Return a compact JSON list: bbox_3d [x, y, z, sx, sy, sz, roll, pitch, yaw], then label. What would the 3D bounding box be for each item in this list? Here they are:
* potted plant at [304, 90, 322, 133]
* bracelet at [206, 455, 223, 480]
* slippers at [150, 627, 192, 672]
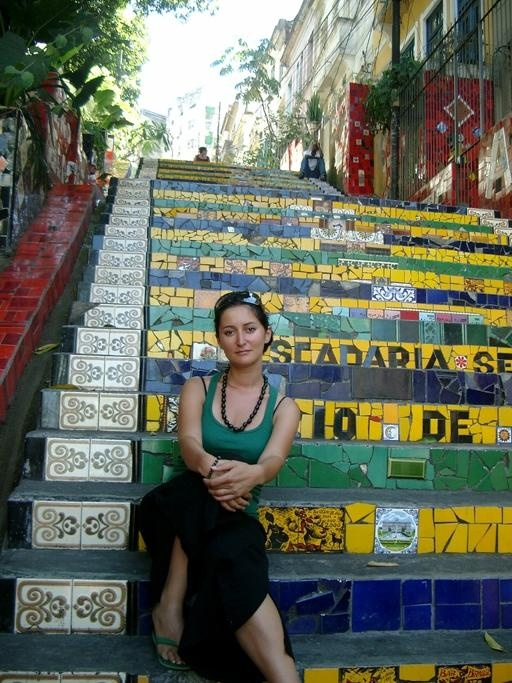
[{"bbox_3d":[1.310,-5.038,14.608,0.330,0.973,0.417,3,2,7],"label":"potted plant"},{"bbox_3d":[-0.135,0.395,2.091,0.027,0.091,0.022,36,-21,-7],"label":"bracelet"},{"bbox_3d":[-0.267,0.945,2.019,0.066,0.073,0.182,1,2,-30],"label":"slippers"}]
